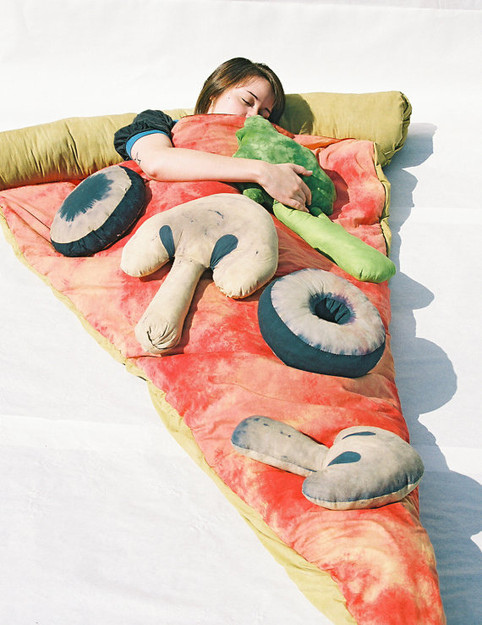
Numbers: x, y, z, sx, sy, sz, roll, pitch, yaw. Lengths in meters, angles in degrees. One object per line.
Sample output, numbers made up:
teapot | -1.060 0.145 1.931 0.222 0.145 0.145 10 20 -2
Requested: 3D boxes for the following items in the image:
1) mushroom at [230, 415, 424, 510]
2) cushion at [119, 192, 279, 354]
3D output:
mushroom | 0.125 0.206 0.962 0.284 0.059 0.196 9 25 13
cushion | -0.073 -0.113 1.212 0.390 0.238 0.329 -8 38 -10
